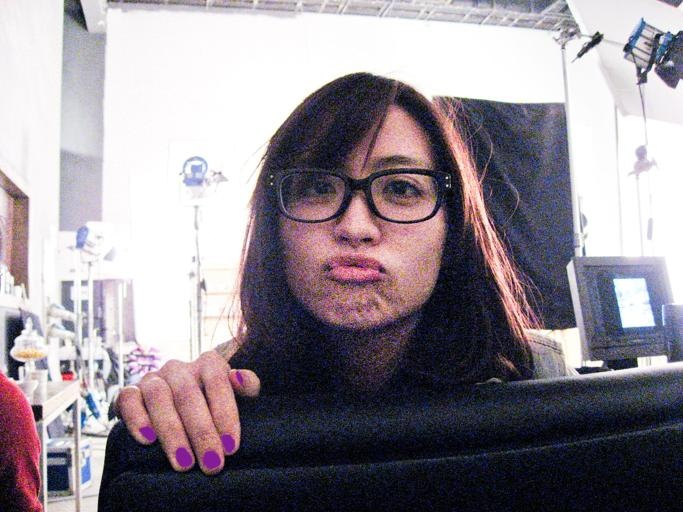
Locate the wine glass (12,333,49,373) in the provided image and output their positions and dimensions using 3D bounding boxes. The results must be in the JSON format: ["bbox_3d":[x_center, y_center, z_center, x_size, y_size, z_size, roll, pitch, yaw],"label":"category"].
[{"bbox_3d":[-1.297,0.390,2.495,0.136,0.128,0.098,-2,-4,-31],"label":"wine glass"}]

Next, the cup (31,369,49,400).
[{"bbox_3d":[-1.226,0.523,2.440,0.066,0.096,0.074,-7,-10,28],"label":"cup"}]

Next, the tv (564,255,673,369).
[{"bbox_3d":[1.022,0.205,2.199,0.400,0.417,0.133,-1,-10,-16],"label":"tv"}]
